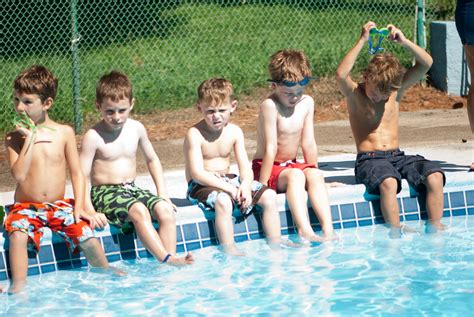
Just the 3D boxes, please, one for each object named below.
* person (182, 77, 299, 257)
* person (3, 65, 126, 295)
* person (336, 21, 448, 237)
[{"bbox_3d":[-0.082,0.035,4.653,0.806,1.431,0.555,-8,2,-7],"label":"person"},{"bbox_3d":[-1.531,0.104,4.227,0.782,1.888,0.373,-8,2,-18],"label":"person"},{"bbox_3d":[1.446,-0.322,4.965,0.884,1.580,0.703,-7,2,9],"label":"person"}]
